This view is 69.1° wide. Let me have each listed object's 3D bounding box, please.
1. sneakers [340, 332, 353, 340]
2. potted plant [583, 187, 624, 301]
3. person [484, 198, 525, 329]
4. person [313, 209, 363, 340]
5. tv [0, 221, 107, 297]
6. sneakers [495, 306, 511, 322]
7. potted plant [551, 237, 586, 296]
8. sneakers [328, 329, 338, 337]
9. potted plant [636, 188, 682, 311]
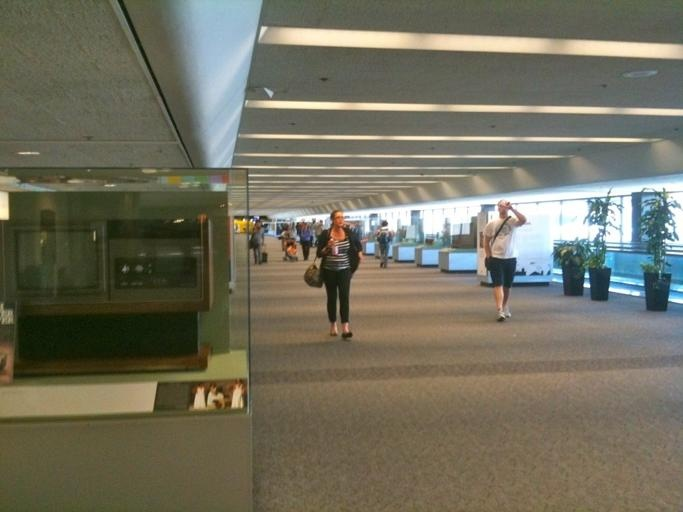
[{"bbox_3d":[0.035,1.369,8.528,0.137,0.100,0.259,-1,-3,-4],"label":"sneakers"},{"bbox_3d":[7.328,-0.346,13.845,0.825,3.070,1.334,2,-1,28],"label":"potted plant"},{"bbox_3d":[3.371,0.096,10.279,0.755,2.475,1.294,3,-1,20],"label":"person"},{"bbox_3d":[-0.087,0.318,8.406,0.718,1.567,0.745,3,-1,18],"label":"person"},{"bbox_3d":[-1.662,-0.008,2.778,0.441,0.354,0.043,0,6,0],"label":"tv"},{"bbox_3d":[3.388,1.220,10.389,0.201,0.230,0.541,-2,-8,3],"label":"sneakers"},{"bbox_3d":[6.642,0.324,14.185,0.915,1.594,0.563,2,-2,33],"label":"potted plant"},{"bbox_3d":[-0.210,1.373,8.877,0.120,0.089,0.226,-1,-6,-6],"label":"sneakers"},{"bbox_3d":[7.677,-0.170,11.868,0.740,2.915,0.849,2,-2,43],"label":"potted plant"}]
